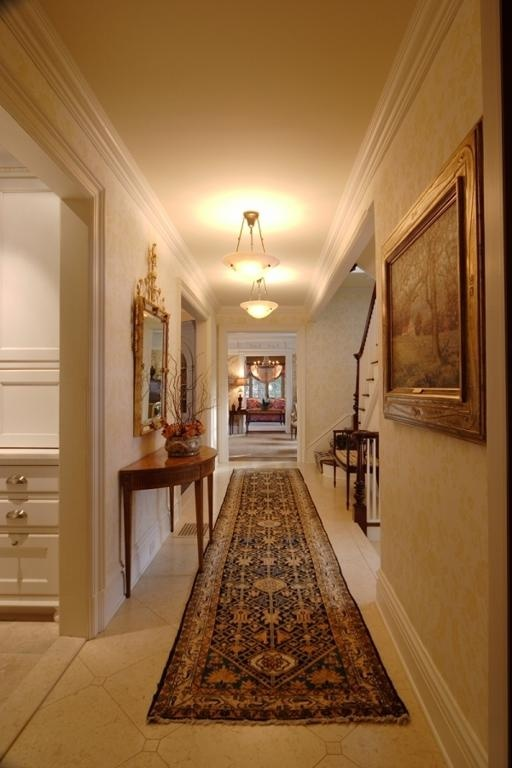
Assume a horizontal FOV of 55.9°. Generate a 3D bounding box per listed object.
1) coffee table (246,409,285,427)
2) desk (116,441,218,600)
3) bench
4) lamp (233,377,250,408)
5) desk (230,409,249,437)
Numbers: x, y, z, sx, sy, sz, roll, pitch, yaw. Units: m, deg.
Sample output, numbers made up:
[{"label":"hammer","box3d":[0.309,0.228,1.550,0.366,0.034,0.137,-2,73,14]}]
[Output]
[{"label":"coffee table","box3d":[0.205,0.956,13.952,1.137,0.419,1.066,-1,0,-11]},{"label":"desk","box3d":[-0.503,0.833,3.250,0.414,0.701,1.074,0,-1,4]},{"label":"bench","box3d":[0.966,0.866,4.706,0.256,0.524,0.833,1,-4,4]},{"label":"lamp","box3d":[-0.471,0.233,13.972,0.396,0.864,1.034,0,0,10]},{"label":"desk","box3d":[-0.481,0.993,13.111,0.480,0.625,1.011,0,0,-1]}]
